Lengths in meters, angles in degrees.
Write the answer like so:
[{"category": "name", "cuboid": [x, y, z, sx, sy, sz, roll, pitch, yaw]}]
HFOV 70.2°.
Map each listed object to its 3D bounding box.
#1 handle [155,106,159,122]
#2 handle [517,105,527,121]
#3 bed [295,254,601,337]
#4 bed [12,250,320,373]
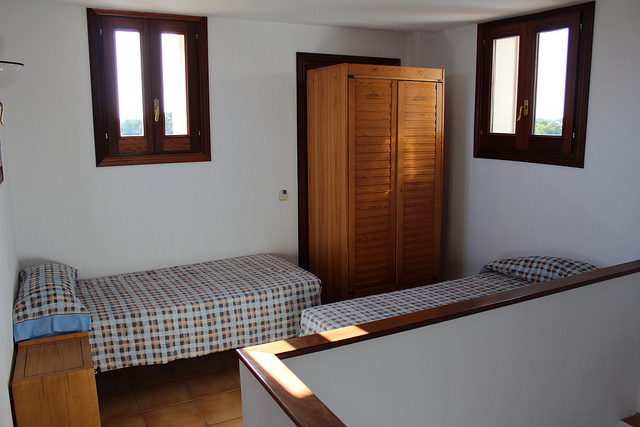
[{"category": "handle", "cuboid": [-1.600, -0.971, 4.455, 0.051, 0.142, 0.013, -8, 13, -24]}, {"category": "handle", "cuboid": [2.032, -1.011, 4.579, 0.014, 0.143, 0.096, -11, 14, -34]}, {"category": "bed", "cuboid": [0.998, 0.689, 4.020, 1.890, 0.487, 1.069, -9, 16, -20]}, {"category": "bed", "cuboid": [-1.356, 0.779, 3.974, 1.985, 0.525, 1.153, -8, 19, -27]}]
